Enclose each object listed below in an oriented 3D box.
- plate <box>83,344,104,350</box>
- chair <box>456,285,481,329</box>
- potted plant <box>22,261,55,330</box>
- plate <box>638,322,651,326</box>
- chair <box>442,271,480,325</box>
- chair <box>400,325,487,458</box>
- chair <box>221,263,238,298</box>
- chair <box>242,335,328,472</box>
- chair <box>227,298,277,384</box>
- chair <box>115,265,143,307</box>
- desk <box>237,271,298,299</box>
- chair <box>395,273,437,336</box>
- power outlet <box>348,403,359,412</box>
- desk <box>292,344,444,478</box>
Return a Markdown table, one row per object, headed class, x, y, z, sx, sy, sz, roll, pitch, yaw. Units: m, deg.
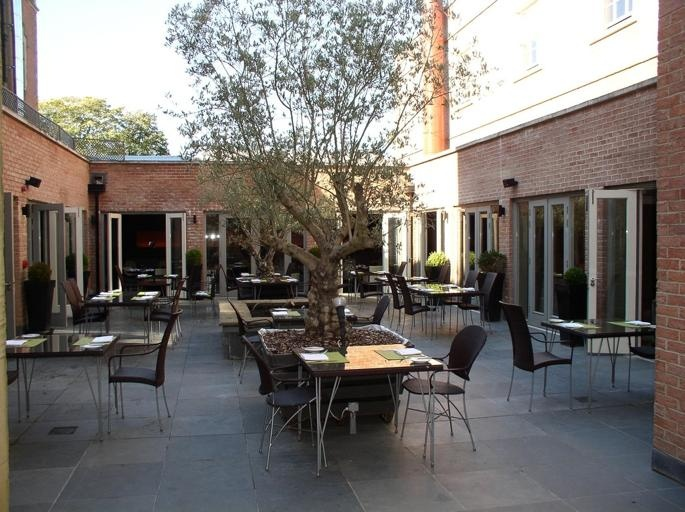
| class | x | y | z | sx | sy | sz | roll | pitch | yaw |
| --- | --- | --- | --- | --- | --- | --- | --- | --- | --- |
| plate | -2.550 | 0.931 | 5.273 | 0.199 | 0.010 | 0.232 | 0 | 3 | -2 |
| chair | 2.620 | 1.070 | 10.825 | 0.528 | 0.719 | 0.554 | 6 | 2 | 21 |
| potted plant | -6.299 | 0.877 | 10.628 | 0.492 | 1.400 | 0.431 | -2 | 5 | -25 |
| plate | 3.669 | 0.831 | 6.272 | 0.120 | 0.034 | 0.251 | 2 | 4 | 29 |
| chair | 2.645 | 0.994 | 11.411 | 0.663 | 1.182 | 0.581 | -2 | 8 | -12 |
| chair | 1.017 | 1.367 | 5.322 | 0.802 | 1.244 | 0.866 | 0 | 0 | -14 |
| chair | -3.515 | 0.823 | 15.892 | 0.519 | 1.018 | 2.587 | -1 | 4 | -13 |
| chair | -0.562 | 1.417 | 5.047 | 0.767 | 1.179 | 0.714 | 2 | -1 | -28 |
| chair | -1.409 | 1.242 | 7.788 | 0.935 | 1.407 | 0.972 | 0 | 1 | -10 |
| chair | -5.574 | 0.773 | 13.443 | 0.497 | 0.853 | 0.807 | 0 | 4 | -9 |
| desk | -1.937 | 0.864 | 13.097 | 1.346 | 0.675 | 3.002 | -1 | 3 | -14 |
| chair | 1.431 | 1.006 | 10.421 | 0.561 | 1.026 | 0.520 | 0 | 0 | -14 |
| power outlet | 0.116 | 1.570 | 5.377 | 0.132 | 0.123 | 0.077 | 1 | 2 | -9 |
| desk | 0.218 | 1.427 | 5.097 | 1.231 | 0.894 | 1.055 | -1 | 4 | -18 |
